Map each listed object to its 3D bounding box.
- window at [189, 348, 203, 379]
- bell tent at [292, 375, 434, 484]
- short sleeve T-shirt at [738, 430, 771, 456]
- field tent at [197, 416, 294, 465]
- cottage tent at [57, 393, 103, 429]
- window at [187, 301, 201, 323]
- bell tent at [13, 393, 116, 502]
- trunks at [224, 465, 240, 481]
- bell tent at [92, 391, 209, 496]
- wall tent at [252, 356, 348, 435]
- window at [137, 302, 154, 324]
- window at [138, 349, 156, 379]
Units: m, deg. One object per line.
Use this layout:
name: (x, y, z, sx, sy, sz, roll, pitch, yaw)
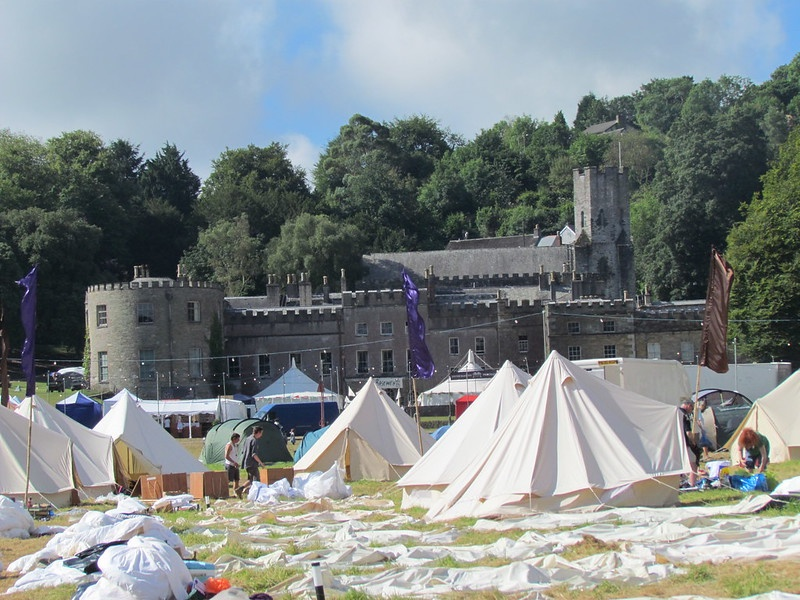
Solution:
window: (-11.559, 3.412, 100.773, 0.825, 1.654, 0.177, -1, -5, -33)
bell tent: (-1.634, 5.875, 75.771, 4.262, 2.633, 4.565, -3, 2, -19)
short sleeve T-shirt: (13.577, 5.392, 68.820, 1.031, 1.027, 0.670, -5, -5, 3)
field tent: (-6.873, 6.280, 81.457, 2.542, 1.640, 2.695, -2, -5, 32)
cottage tent: (-16.458, 5.367, 91.702, 2.113, 1.681, 2.250, 0, 0, 7)
window: (-11.749, 0.562, 101.255, 1.027, 1.627, 0.074, 2, -15, -26)
bell tent: (-13.341, 6.152, 74.516, 3.677, 2.834, 4.019, -4, -8, -3)
trunks: (-6.906, 7.006, 73.415, 0.453, 0.921, 0.872, -4, 0, -17)
bell tent: (-10.667, 5.955, 75.303, 3.571, 2.211, 3.755, 0, -5, -32)
wall tent: (-5.386, 4.630, 94.490, 3.647, 2.689, 3.132, 0, -6, -8)
window: (-14.385, 0.631, 100.478, 1.027, 1.629, 0.056, 1, -16, -15)
window: (-14.177, 3.465, 99.931, 0.913, 1.741, 0.204, -3, -4, -10)
